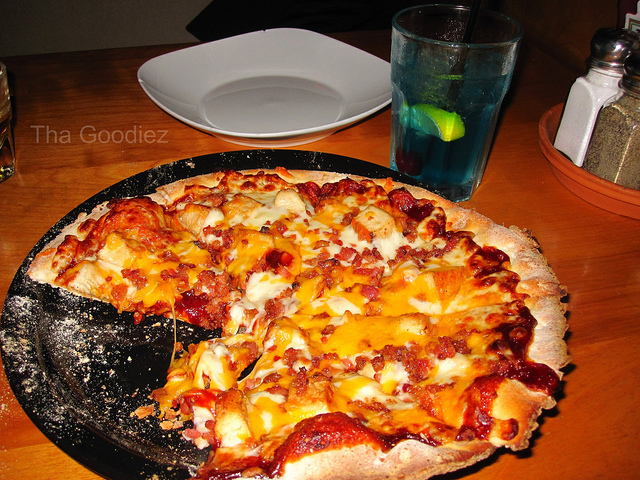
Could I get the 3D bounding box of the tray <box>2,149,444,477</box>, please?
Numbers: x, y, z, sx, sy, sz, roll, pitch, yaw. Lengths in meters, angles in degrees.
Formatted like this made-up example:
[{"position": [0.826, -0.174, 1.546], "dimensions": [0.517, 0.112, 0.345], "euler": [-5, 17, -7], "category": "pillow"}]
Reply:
[{"position": [-0.348, 0.295, 1.962], "dimensions": [1.735, 0.138, 1.585], "euler": [-4, 48, -4], "category": "tray"}]
